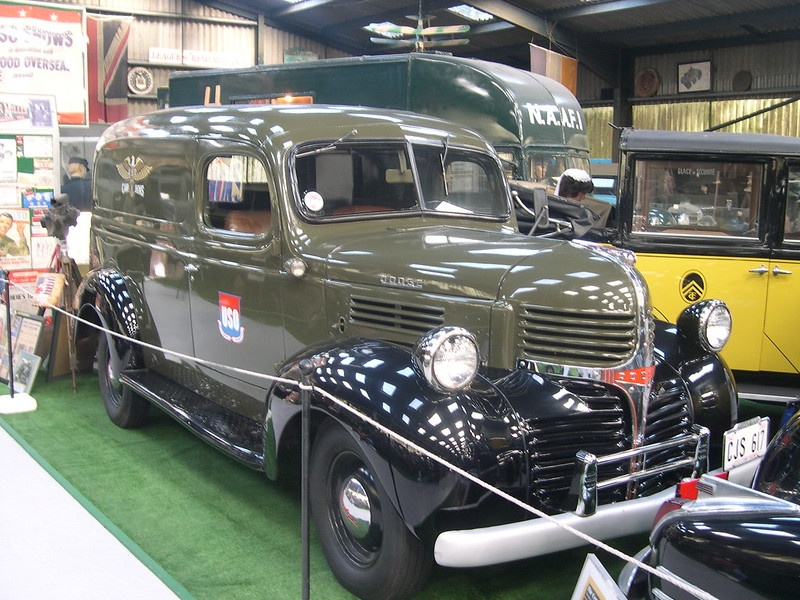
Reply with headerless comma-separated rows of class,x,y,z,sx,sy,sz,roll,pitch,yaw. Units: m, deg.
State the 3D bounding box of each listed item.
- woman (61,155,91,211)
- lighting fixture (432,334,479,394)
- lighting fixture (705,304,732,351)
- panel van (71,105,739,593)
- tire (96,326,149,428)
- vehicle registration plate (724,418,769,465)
woman,-4.131,-1.488,8.759,0.430,0.665,0.326,-12,-8,-15
lighting fixture,0.251,0.262,3.145,0.242,0.332,0.120,-8,27,-3
lighting fixture,1.792,0.153,3.870,0.202,0.252,0.039,-28,15,-17
panel van,-0.330,-0.019,4.452,2.081,2.030,3.921,-4,7,-39
tire,-2.029,0.572,5.047,0.172,0.620,0.556,0,19,-35
vehicle registration plate,1.796,0.740,3.566,0.394,0.229,0.036,-6,8,-32
